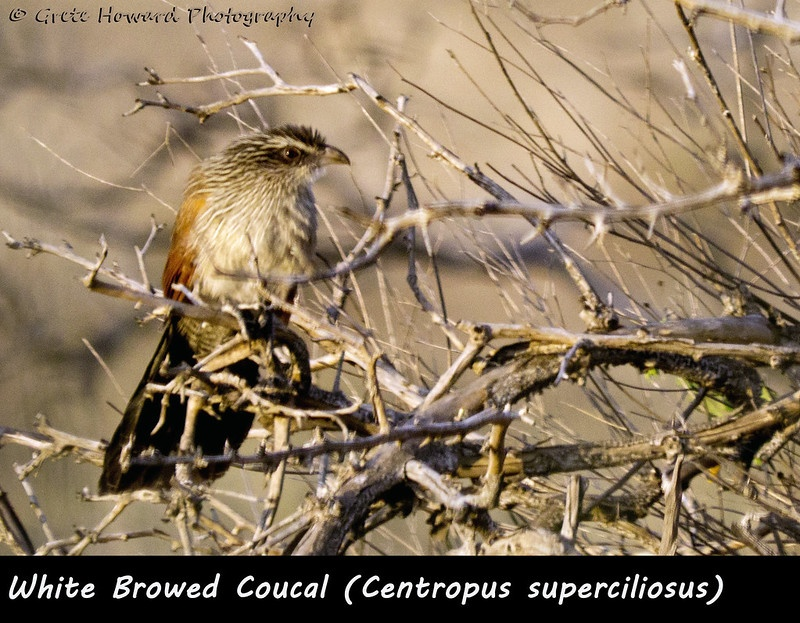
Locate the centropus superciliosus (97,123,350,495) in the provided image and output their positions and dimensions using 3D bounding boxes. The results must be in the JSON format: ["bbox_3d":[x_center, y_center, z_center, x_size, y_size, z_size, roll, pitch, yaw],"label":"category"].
[{"bbox_3d":[-0.949,-0.234,5.878,1.077,2.012,1.343,-10,14,-38],"label":"centropus superciliosus"}]
